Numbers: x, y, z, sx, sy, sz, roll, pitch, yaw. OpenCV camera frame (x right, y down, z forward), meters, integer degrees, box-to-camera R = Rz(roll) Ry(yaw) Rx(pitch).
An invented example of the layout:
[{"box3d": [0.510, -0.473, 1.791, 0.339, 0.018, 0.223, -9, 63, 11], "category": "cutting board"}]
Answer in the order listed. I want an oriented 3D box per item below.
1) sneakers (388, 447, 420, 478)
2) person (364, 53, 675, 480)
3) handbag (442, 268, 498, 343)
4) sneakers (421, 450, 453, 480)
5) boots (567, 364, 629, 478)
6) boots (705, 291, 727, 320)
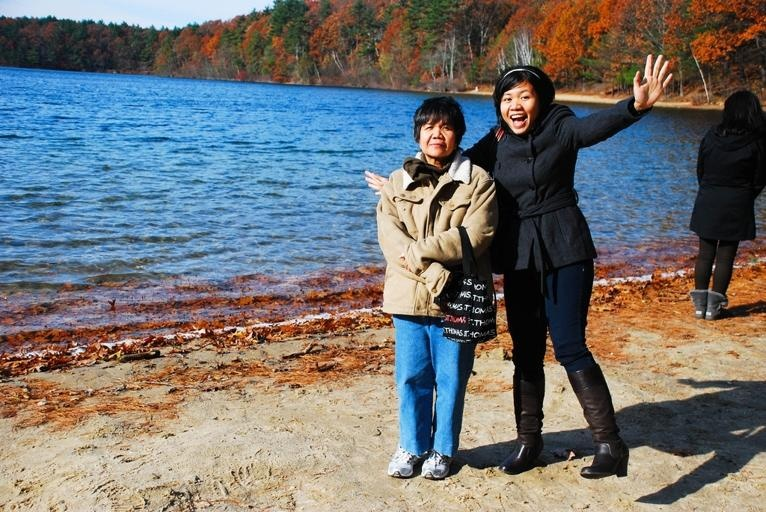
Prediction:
[{"box3d": [0.162, 1.631, 4.971, 0.155, 0.126, 0.322, 0, -11, 18], "category": "sneakers"}, {"box3d": [1.258, 0.142, 4.824, 1.325, 3.110, 0.934, 4, 17, 23], "category": "person"}, {"box3d": [0.613, 0.375, 4.746, 0.379, 0.484, 0.256, 8, 19, 35], "category": "handbag"}, {"box3d": [0.403, 1.630, 4.950, 0.153, 0.109, 0.296, 0, -7, 13], "category": "sneakers"}, {"box3d": [1.599, 1.278, 4.745, 0.428, 0.937, 0.357, -1, 16, 8], "category": "boots"}, {"box3d": [4.042, 0.591, 7.816, 0.186, 0.279, 0.474, 16, 30, 37], "category": "boots"}]
